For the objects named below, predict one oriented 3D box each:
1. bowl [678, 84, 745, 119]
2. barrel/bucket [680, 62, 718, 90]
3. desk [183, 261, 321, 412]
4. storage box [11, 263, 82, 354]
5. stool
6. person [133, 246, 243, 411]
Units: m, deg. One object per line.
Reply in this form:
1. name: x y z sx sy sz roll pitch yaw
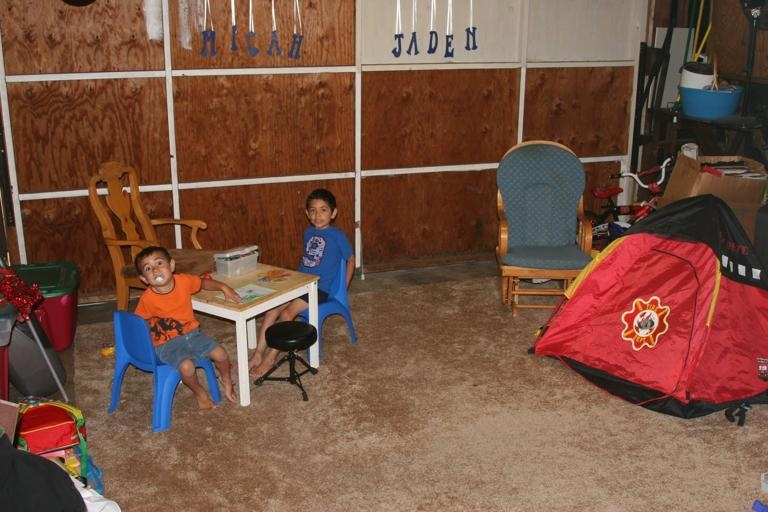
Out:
1. bowl: 3.450 -1.626 6.305 0.448 0.209 0.488 -1 18 0
2. barrel/bucket: 3.315 -1.929 6.339 0.294 0.305 0.311 1 28 0
3. desk: -0.907 0.550 4.683 0.979 0.927 0.989 13 24 31
4. storage box: -2.865 0.591 4.997 0.523 0.430 0.463 -7 -14 -43
5. stool: -0.701 0.746 4.542 0.479 0.525 0.475 15 26 32
6. person: -1.390 0.512 4.283 0.704 1.171 0.466 -10 24 -24
